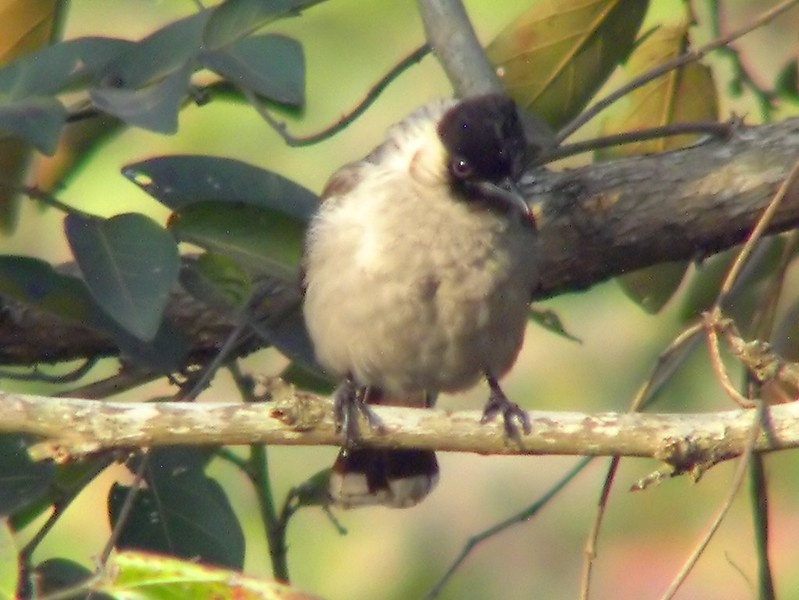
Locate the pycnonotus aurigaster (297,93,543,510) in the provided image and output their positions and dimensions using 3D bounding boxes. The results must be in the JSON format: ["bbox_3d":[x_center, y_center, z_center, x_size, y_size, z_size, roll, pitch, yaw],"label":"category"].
[{"bbox_3d":[0.118,-0.155,5.284,0.877,1.570,1.528,-10,24,7],"label":"pycnonotus aurigaster"}]
